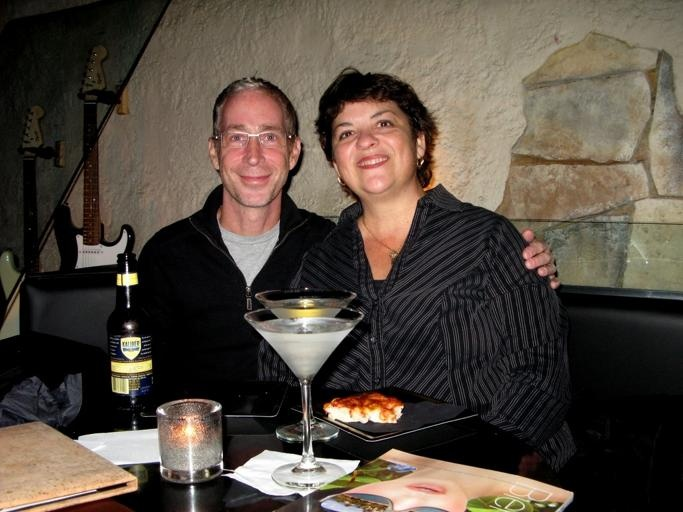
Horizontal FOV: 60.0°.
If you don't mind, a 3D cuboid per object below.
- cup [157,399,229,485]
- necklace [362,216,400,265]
[{"bbox_3d":[-0.368,0.458,1.551,0.213,0.183,0.196,0,4,0],"label":"cup"},{"bbox_3d":[0.172,-0.075,2.747,0.295,0.084,0.073,45,-2,42],"label":"necklace"}]
